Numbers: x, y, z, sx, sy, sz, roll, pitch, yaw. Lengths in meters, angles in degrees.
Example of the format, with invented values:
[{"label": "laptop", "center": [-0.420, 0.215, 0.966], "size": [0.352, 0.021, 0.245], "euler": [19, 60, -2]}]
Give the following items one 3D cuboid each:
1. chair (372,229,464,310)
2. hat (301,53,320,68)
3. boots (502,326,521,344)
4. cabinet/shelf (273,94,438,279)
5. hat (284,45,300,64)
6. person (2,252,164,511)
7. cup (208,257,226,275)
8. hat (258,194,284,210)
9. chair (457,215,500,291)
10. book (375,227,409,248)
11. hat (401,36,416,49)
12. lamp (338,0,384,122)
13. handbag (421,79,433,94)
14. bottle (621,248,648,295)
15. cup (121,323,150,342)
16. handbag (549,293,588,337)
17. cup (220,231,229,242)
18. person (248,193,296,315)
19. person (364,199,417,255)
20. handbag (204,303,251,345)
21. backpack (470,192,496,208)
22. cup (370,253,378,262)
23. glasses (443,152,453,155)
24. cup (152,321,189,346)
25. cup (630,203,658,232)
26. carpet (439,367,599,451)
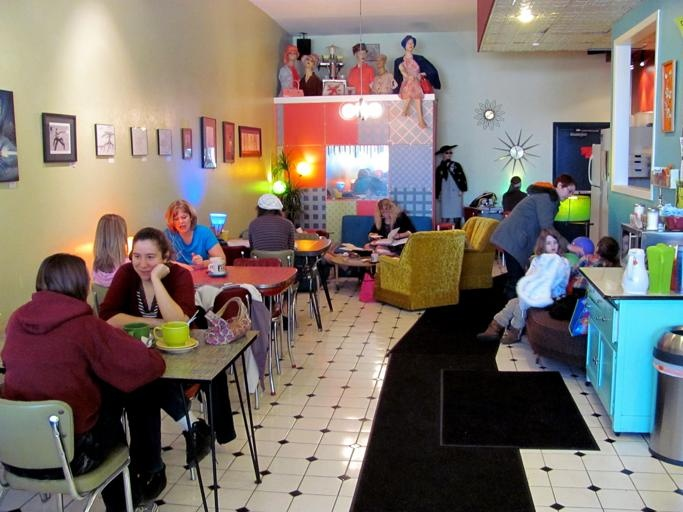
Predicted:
[{"label": "chair", "center": [1.065, 0.114, 7.262], "size": [0.906, 1.050, 1.098], "euler": [-6, 11, -29]}, {"label": "hat", "center": [-0.595, -3.652, 9.873], "size": [0.258, 0.129, 0.335], "euler": [0, 7, -10]}, {"label": "boots", "center": [1.824, 0.843, 5.683], "size": [0.197, 0.174, 0.195], "euler": [2, 11, 19]}, {"label": "cabinet/shelf", "center": [0.293, -1.225, 8.746], "size": [3.016, 3.060, 1.057], "euler": [0, 4, 10]}, {"label": "hat", "center": [-0.952, -3.777, 9.816], "size": [0.332, 0.483, 0.330], "euler": [-1, 3, -5]}, {"label": "person", "center": [-1.293, 0.747, 2.655], "size": [0.742, 1.521, 0.512], "euler": [-8, 12, -30]}, {"label": "cup", "center": [-1.112, 0.096, 4.710], "size": [0.164, 0.170, 0.112], "euler": [-1, 5, -12]}, {"label": "hat", "center": [-0.916, -0.674, 6.632], "size": [0.405, 0.233, 0.592], "euler": [2, 8, -8]}, {"label": "chair", "center": [1.883, -0.110, 8.220], "size": [0.754, 0.972, 1.010], "euler": [0, 17, 5]}, {"label": "book", "center": [0.759, -0.249, 7.969], "size": [0.312, 0.142, 0.322], "euler": [-9, 4, 31]}, {"label": "hat", "center": [1.204, -3.854, 9.554], "size": [0.204, 0.272, 0.259], "euler": [-3, 11, -6]}, {"label": "lamp", "center": [0.370, -3.360, 9.517], "size": [0.773, 1.831, 1.794], "euler": [1, 11, 13]}, {"label": "handbag", "center": [1.507, -3.028, 9.407], "size": [0.256, 0.280, 0.246], "euler": [-3, 11, -9]}, {"label": "bottle", "center": [2.094, 0.097, 3.762], "size": [0.170, 0.297, 0.305], "euler": [4, 12, 28]}, {"label": "cup", "center": [-1.125, 0.406, 2.874], "size": [0.082, 0.082, 0.112], "euler": [1, 9, -2]}, {"label": "handbag", "center": [2.030, 0.494, 4.652], "size": [0.132, 0.379, 0.303], "euler": [40, -24, -21]}, {"label": "cup", "center": [-1.607, -0.275, 7.190], "size": [0.118, 0.211, 0.127], "euler": [1, 1, 0]}, {"label": "person", "center": [-0.824, -0.270, 6.390], "size": [0.652, 0.963, 0.569], "euler": [-3, 7, -39]}, {"label": "person", "center": [0.703, -0.408, 8.259], "size": [0.678, 0.931, 0.717], "euler": [0, 14, 21]}, {"label": "handbag", "center": [-0.692, 0.391, 3.171], "size": [0.305, 0.193, 0.190], "euler": [-14, 23, -24]}, {"label": "backpack", "center": [2.782, -1.062, 10.466], "size": [0.414, 0.199, 0.314], "euler": [-8, 4, 41]}, {"label": "cup", "center": [0.443, 0.032, 7.430], "size": [0.102, 0.125, 0.105], "euler": [0, -3, 0]}, {"label": "glasses", "center": [2.092, -2.050, 10.534], "size": [0.091, 0.033, 0.096], "euler": [-1, 2, -30]}, {"label": "cup", "center": [-0.983, 0.441, 3.031], "size": [0.173, 0.126, 0.140], "euler": [-1, 8, -1]}, {"label": "cup", "center": [2.604, -0.329, 4.570], "size": [0.196, 0.242, 0.240], "euler": [-6, 10, -39]}, {"label": "carpet", "center": [1.377, 1.226, 4.415], "size": [1.138, 0.031, 1.664], "euler": [-3, 6, 17]}]
